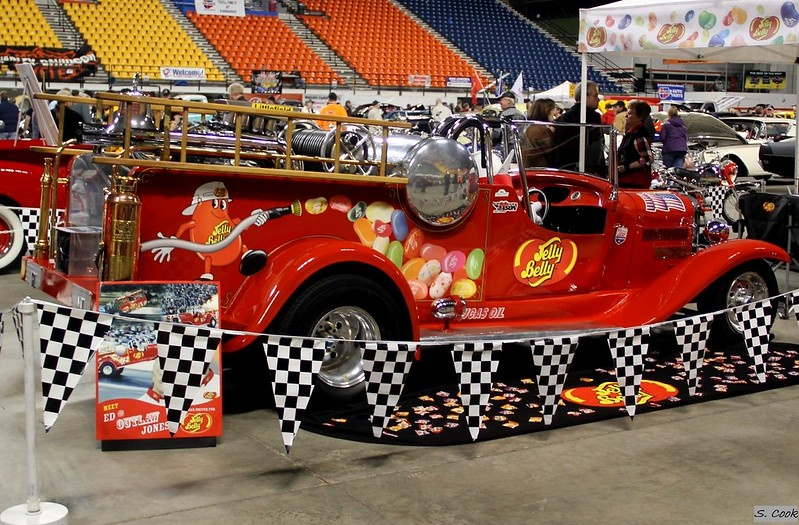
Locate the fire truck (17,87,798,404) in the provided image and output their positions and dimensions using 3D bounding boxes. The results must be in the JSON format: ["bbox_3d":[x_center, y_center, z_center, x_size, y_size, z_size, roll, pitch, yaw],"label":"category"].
[{"bbox_3d":[0.695,-0.291,6.890,6.735,2.201,2.924,-1,9,-23],"label":"fire truck"}]

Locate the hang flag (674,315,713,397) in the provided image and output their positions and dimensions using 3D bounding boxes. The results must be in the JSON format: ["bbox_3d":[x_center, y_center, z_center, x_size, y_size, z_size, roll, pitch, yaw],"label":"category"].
[{"bbox_3d":[2.226,0.758,5.199,0.431,0.729,0.164,-12,19,-41],"label":"hang flag"}]

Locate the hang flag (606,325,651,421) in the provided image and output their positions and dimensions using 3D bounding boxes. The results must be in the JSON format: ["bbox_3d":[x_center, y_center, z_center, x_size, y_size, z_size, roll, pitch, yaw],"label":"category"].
[{"bbox_3d":[1.682,0.825,4.945,0.353,0.688,0.157,-3,15,-15],"label":"hang flag"}]

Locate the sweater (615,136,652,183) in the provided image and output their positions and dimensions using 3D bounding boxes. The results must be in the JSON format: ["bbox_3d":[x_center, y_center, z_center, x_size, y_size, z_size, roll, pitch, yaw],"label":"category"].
[{"bbox_3d":[2.835,-1.255,8.183,0.455,0.756,0.685,4,11,14],"label":"sweater"}]
